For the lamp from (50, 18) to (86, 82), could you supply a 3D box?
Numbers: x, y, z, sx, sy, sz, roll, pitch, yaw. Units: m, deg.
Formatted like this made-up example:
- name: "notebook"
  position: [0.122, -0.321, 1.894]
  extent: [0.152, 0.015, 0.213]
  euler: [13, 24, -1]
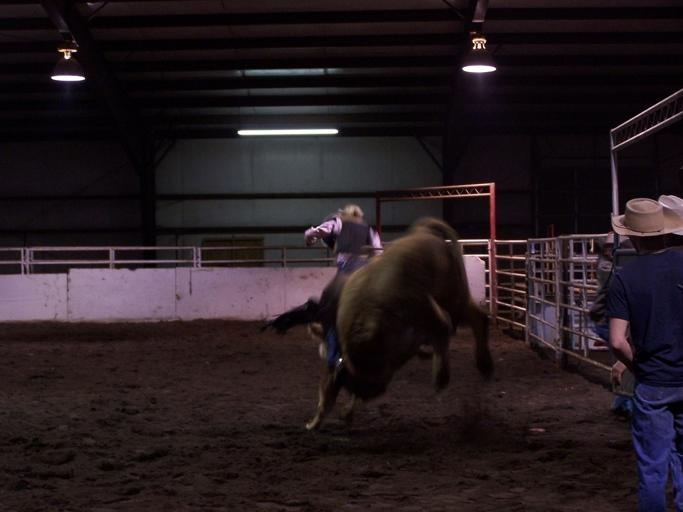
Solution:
- name: "lamp"
  position: [-5.027, -3.793, 12.511]
  extent: [0.560, 0.966, 0.541]
  euler: [-1, 7, 3]

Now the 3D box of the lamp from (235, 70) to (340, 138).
- name: "lamp"
  position: [-1.240, -3.745, 16.621]
  extent: [2.343, 1.344, 2.887]
  euler: [-1, 6, -9]

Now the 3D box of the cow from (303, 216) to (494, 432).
- name: "cow"
  position: [0.545, 0.455, 5.402]
  extent: [1.193, 1.533, 1.070]
  euler: [0, 5, 1]
